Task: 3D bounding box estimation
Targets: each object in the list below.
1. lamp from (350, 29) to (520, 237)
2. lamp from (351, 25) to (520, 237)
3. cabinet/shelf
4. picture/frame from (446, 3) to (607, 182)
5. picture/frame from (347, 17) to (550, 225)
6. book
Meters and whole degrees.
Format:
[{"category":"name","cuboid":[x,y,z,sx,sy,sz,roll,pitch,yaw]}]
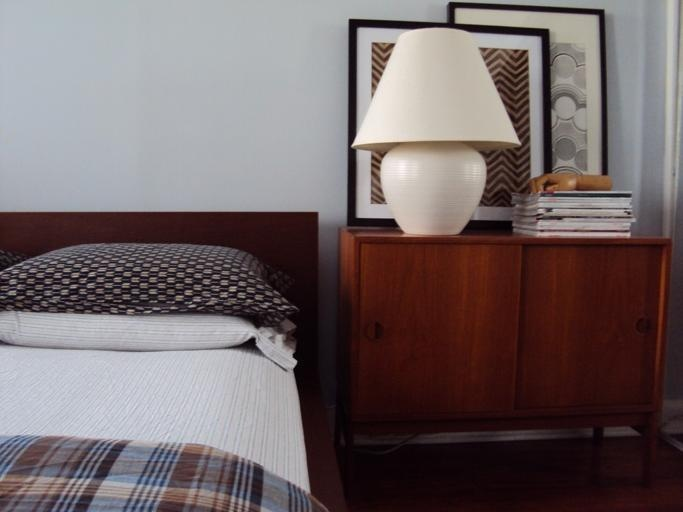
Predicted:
[{"category":"lamp","cuboid":[0.277,-0.386,2.129,0.677,0.754,0.704,1,1,-8]},{"category":"lamp","cuboid":[0.321,-0.428,1.976,0.605,0.659,0.604,-6,7,-42]},{"category":"cabinet/shelf","cuboid":[0.546,0.338,1.879,1.060,0.742,0.352,0,2,-5]},{"category":"picture/frame","cuboid":[0.692,-0.647,2.114,0.887,0.897,0.034,0,0,-6]},{"category":"picture/frame","cuboid":[0.348,-0.492,1.963,0.950,0.837,0.039,1,-1,-7]},{"category":"book","cuboid":[0.820,-0.150,1.893,0.247,0.098,0.237,1,3,7]}]
